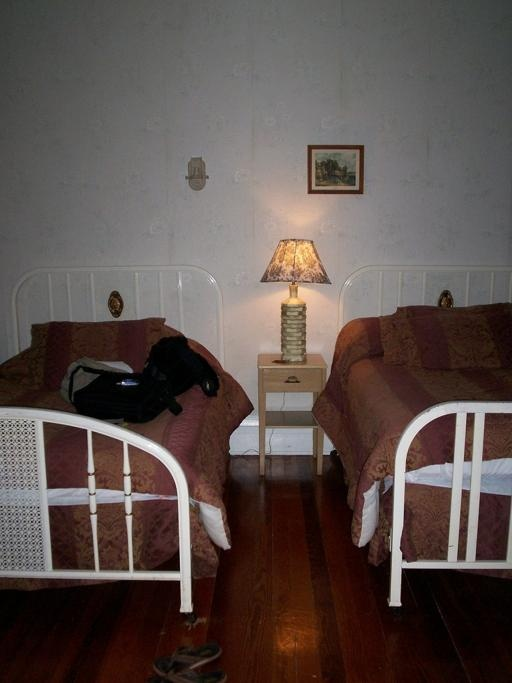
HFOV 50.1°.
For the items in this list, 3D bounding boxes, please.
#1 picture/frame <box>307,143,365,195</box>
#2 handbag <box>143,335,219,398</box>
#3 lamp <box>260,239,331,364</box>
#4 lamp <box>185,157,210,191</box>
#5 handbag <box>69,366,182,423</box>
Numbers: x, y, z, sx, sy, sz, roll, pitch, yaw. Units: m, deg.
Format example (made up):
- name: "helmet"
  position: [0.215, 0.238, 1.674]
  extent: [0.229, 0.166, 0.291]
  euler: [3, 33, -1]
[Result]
- name: "picture/frame"
  position: [0.421, -0.913, 2.870]
  extent: [0.239, 0.210, 0.021]
  euler: [-1, 15, 4]
- name: "handbag"
  position: [-0.318, 0.117, 2.355]
  extent: [0.287, 0.108, 0.235]
  euler: [26, 62, 17]
- name: "lamp"
  position: [0.204, -0.211, 2.836]
  extent: [0.325, 0.614, 0.343]
  euler: [1, 8, 6]
- name: "lamp"
  position: [-0.311, -0.869, 2.864]
  extent: [0.115, 0.158, 0.056]
  euler: [1, 6, 3]
- name: "handbag"
  position: [-0.511, 0.198, 2.029]
  extent: [0.308, 0.114, 0.225]
  euler: [19, 26, 20]
